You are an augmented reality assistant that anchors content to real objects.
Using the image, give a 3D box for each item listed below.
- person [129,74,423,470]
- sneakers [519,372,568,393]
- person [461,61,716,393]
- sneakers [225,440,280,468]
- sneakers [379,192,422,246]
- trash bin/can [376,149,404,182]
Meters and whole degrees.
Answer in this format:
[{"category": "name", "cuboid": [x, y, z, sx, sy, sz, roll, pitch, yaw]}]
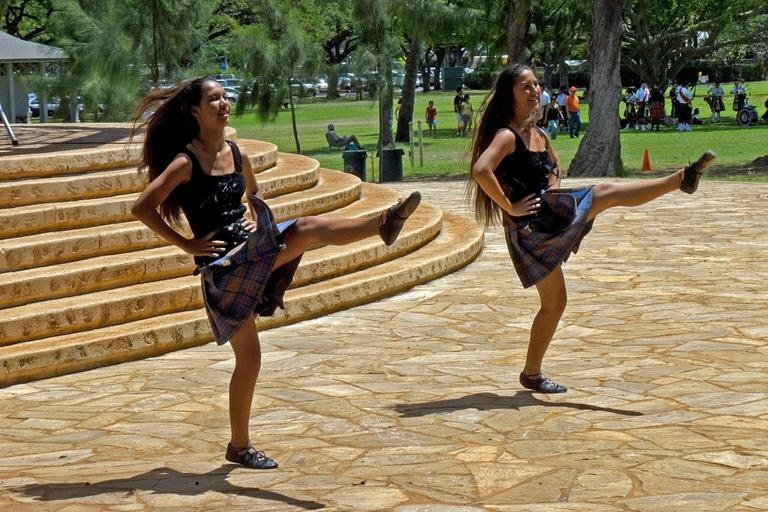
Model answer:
[{"category": "person", "cuboid": [-0.895, 0.092, 4.455, 1.851, 2.259, 0.683, 2, 13, 11]}, {"category": "sneakers", "cuboid": [1.138, 0.911, 5.461, 0.436, 0.107, 0.127, 1, 1, 5]}, {"category": "person", "cuboid": [1.254, -0.167, 5.254, 1.370, 2.309, 0.754, 0, 12, 4]}, {"category": "sneakers", "cuboid": [-0.924, 1.167, 4.450, 0.397, 0.092, 0.124, 6, -2, 8]}, {"category": "sneakers", "cuboid": [0.007, -0.202, 3.975, 0.215, 0.273, 0.268, -3, 11, -12]}, {"category": "trash bin/can", "cuboid": [-0.143, -2.213, 18.444, 1.067, 0.676, 0.843, -3, 9, -8]}]
